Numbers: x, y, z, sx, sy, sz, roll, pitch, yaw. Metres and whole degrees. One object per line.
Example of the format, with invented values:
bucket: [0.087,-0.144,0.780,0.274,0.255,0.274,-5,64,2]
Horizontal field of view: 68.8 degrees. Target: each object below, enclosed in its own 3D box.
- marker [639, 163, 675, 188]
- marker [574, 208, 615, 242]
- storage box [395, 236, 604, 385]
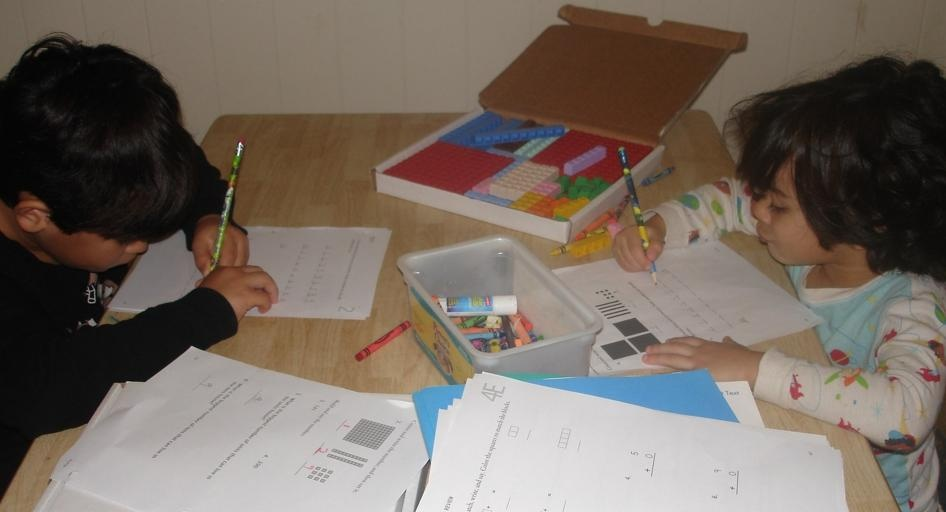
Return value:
marker: [0.509,-0.221,1.914,0.103,0.029,0.025,-27,78,-23]
marker: [0.307,-0.077,1.755,0.123,0.021,0.023,-34,75,-18]
storage box: [0.047,0.112,1.508,0.310,0.167,0.405,-19,45,-23]
